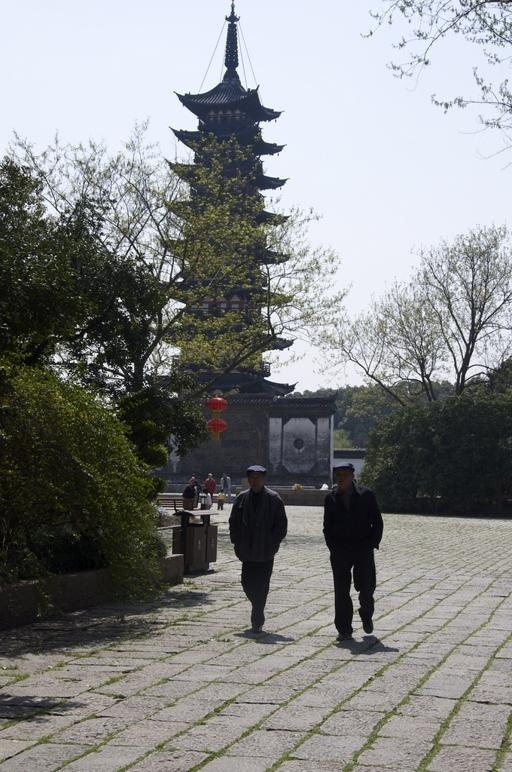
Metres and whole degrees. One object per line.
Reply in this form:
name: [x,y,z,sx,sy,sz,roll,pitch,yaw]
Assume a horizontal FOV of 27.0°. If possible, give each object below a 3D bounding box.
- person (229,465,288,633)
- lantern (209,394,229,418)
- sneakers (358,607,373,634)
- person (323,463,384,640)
person: [0.002,1.181,7.881,0.422,1.150,0.738,3,-2,0]
lantern: [-0.961,0.461,26.767,0.619,0.649,0.641,-1,-7,-8]
sneakers: [0.764,1.634,7.498,0.069,0.209,0.080,-4,-2,6]
person: [0.680,1.158,7.596,0.425,1.186,0.737,2,-2,4]
